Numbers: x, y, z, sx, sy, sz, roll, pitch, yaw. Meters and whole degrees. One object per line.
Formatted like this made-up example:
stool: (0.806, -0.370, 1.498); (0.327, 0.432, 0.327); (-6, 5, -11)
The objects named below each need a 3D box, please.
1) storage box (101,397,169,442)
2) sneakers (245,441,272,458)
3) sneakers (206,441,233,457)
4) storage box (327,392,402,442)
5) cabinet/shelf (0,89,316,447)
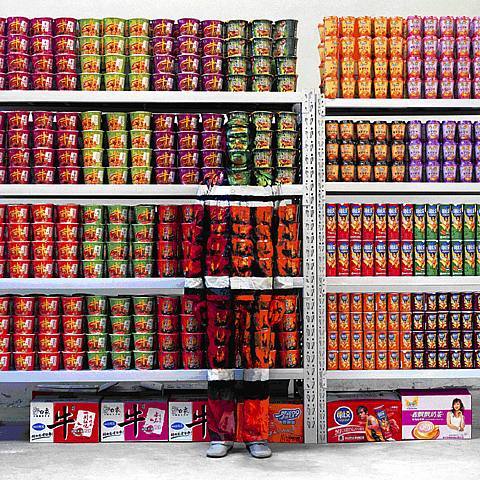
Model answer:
storage box: (-0.530, 0.920, 5.497); (0.337, 0.204, 0.090); (0, -13, -10)
sneakers: (0.084, 1.017, 5.268); (0.073, 0.037, 0.127); (0, 3, -8)
sneakers: (-0.081, 1.025, 5.300); (0.082, 0.085, 0.195); (-12, -15, 37)
storage box: (0.622, 0.915, 5.529); (0.397, 0.250, 0.213); (-1, 4, 2)
cabinet/shelf: (-0.398, 0.140, 5.461); (1.785, 1.633, 0.547); (0, -8, -3)
